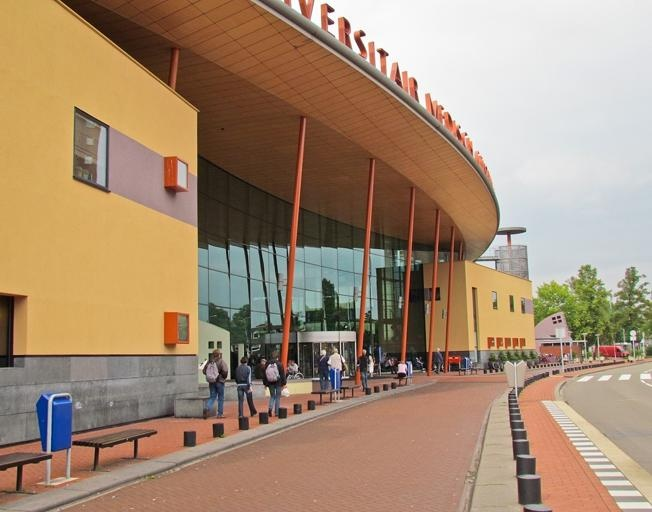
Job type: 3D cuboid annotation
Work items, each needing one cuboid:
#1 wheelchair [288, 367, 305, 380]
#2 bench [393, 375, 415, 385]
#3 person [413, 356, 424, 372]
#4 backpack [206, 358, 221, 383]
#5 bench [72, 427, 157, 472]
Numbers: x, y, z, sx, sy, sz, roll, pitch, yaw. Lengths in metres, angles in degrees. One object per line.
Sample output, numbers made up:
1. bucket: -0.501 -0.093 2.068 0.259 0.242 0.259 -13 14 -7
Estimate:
1. wheelchair: -1.472 5.752 27.476 0.855 0.834 0.584 3 -5 -9
2. bench: 4.129 6.538 29.735 0.565 0.465 1.921 -3 -7 17
3. person: 7.460 8.514 45.098 0.821 1.235 1.678 -7 -13 18
4. backpack: -3.146 3.179 15.555 0.437 0.615 0.215 -4 -11 3
5. bench: -3.546 3.299 9.591 0.492 0.540 1.784 1 -9 11
